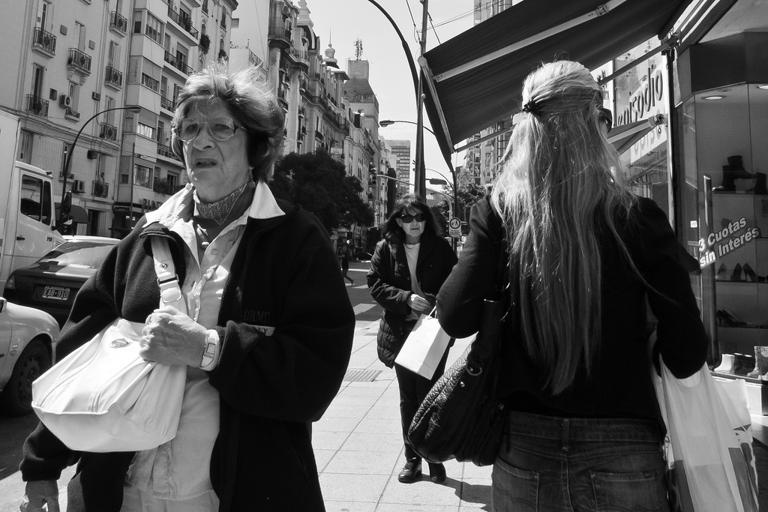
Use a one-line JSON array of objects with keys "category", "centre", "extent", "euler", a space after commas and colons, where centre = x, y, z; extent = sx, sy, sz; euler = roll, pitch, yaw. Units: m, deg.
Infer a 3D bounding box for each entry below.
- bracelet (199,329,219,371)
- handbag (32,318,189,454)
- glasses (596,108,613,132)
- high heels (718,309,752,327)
[{"category": "bracelet", "centre": [-0.728, 0.399, 2.686], "extent": [0.061, 0.148, 0.119], "euler": [4, -8, -6]}, {"category": "handbag", "centre": [-1.163, 0.550, 2.713], "extent": [0.623, 0.522, 0.326], "euler": [0, 1, 13]}, {"category": "glasses", "centre": [0.999, -0.636, 2.951], "extent": [0.075, 0.112, 0.095], "euler": [-1, 22, 3]}, {"category": "high heels", "centre": [2.591, 0.458, 4.756], "extent": [0.251, 0.118, 0.082], "euler": [-5, -5, 28]}]
